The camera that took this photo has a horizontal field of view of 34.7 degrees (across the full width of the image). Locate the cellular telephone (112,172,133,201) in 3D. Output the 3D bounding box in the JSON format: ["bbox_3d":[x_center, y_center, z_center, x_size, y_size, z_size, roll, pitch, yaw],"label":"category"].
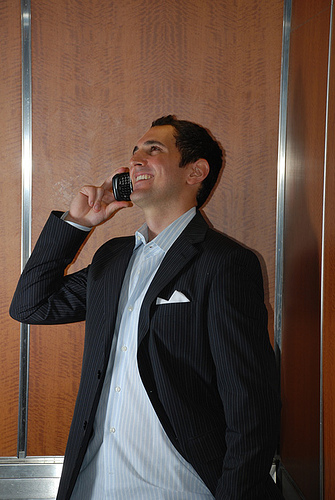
[{"bbox_3d":[-0.146,-0.201,1.692,0.057,0.091,0.084,-1,1,-9],"label":"cellular telephone"}]

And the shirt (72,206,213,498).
[{"bbox_3d":[-0.100,0.258,1.367,0.388,0.637,0.372,-1,11,-23],"label":"shirt"}]
